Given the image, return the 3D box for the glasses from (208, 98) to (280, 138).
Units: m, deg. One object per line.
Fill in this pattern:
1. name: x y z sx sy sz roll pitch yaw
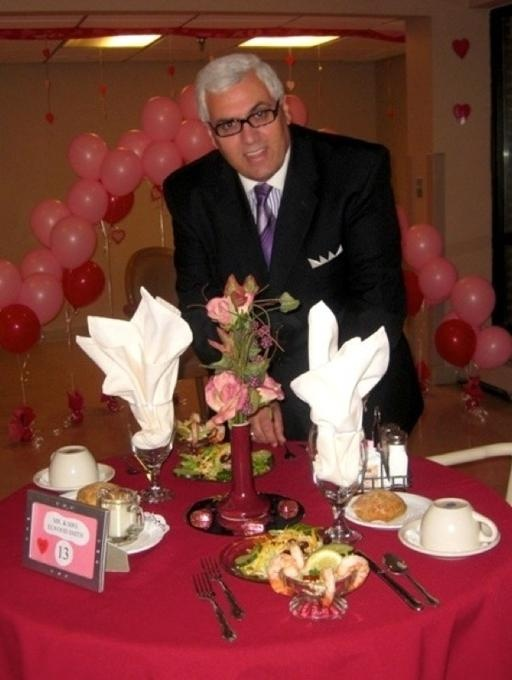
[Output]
1. glasses: -0.033 -0.650 1.714 0.207 0.098 0.097 -3 6 2

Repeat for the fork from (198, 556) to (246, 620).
1. fork: -0.051 0.400 0.952 0.025 0.021 0.194 -6 16 -13

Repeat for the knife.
1. knife: 0.216 0.374 0.984 0.033 0.012 0.238 -13 12 -10

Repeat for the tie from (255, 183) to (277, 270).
1. tie: 0.034 -0.384 1.988 0.059 0.291 0.037 -5 2 18

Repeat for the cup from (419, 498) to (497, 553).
1. cup: 0.360 0.324 1.064 0.090 0.072 0.116 -4 6 -37

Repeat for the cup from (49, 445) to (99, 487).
1. cup: -0.449 0.312 1.434 0.107 0.081 0.101 0 13 0
